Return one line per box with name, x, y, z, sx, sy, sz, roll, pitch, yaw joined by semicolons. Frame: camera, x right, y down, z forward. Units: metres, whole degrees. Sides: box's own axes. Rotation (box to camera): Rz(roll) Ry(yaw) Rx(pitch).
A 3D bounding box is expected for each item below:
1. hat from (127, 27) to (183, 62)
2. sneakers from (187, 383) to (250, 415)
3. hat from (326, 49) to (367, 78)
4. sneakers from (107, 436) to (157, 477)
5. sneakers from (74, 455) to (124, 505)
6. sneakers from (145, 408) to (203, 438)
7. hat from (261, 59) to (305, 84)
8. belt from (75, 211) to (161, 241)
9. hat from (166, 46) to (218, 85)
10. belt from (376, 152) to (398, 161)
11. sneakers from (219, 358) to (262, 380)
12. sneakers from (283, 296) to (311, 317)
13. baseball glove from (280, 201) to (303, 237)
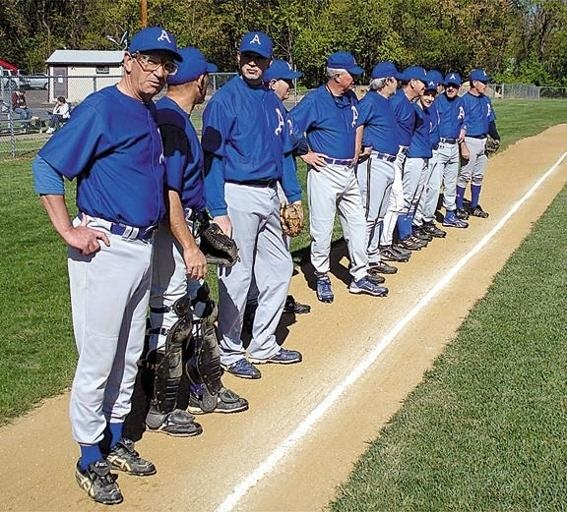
hat;-0.704;-1.190;3.538;0.259;0.167;0.343;2;9;-25
sneakers;-0.469;1.037;4.524;0.425;0.292;0.195;-3;10;-8
hat;0.612;-1.917;6.303;0.338;0.177;0.241;1;35;3
sneakers;-0.940;1.209;3.848;0.344;0.175;0.130;5;7;17
sneakers;-1.052;1.251;3.618;0.331;0.147;0.154;25;24;33
sneakers;-0.740;1.113;4.290;0.334;0.140;0.174;3;5;1
hat;-0.002;-1.718;5.826;0.306;0.169;0.228;-4;30;-2
belt;-0.955;-0.158;3.569;0.461;0.166;0.217;0;19;-14
hat;-0.629;-1.290;4.229;0.345;0.179;0.237;-26;49;-31
belt;1.196;-1.152;7.371;0.150;0.052;0.116;16;17;5
sneakers;-0.338;0.887;5.139;0.296;0.124;0.150;6;7;26
sneakers;0.135;0.527;6.518;0.325;0.149;0.127;-2;16;-12
baseball glove;0.078;-0.293;5.088;0.185;0.250;0.064;-5;-6;-22
